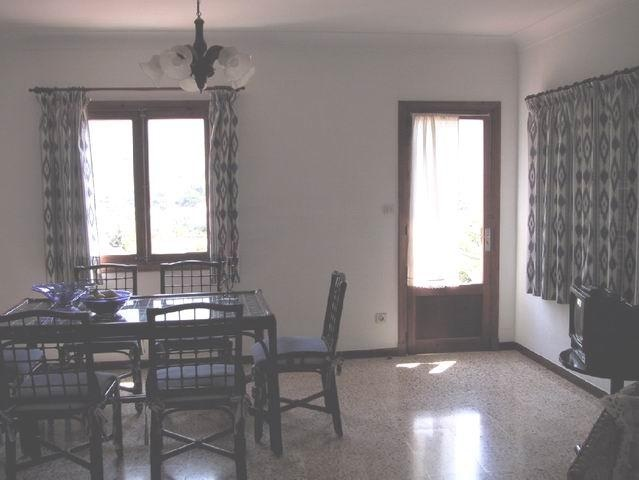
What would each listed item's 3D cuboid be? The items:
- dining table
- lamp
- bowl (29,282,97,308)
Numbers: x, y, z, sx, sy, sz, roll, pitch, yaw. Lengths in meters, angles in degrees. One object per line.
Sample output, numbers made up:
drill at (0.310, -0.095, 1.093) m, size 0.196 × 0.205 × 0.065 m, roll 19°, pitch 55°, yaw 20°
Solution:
dining table at (-0.862, 1.200, 3.914) m, size 1.887 × 1.128 × 1.108 m, roll 0°, pitch 4°, yaw 1°
lamp at (-0.960, -1.485, 3.910) m, size 0.715 × 0.776 × 1.256 m, roll -4°, pitch 13°, yaw -18°
bowl at (-1.910, 0.395, 4.037) m, size 0.266 × 0.103 × 0.284 m, roll 0°, pitch 1°, yaw 0°
